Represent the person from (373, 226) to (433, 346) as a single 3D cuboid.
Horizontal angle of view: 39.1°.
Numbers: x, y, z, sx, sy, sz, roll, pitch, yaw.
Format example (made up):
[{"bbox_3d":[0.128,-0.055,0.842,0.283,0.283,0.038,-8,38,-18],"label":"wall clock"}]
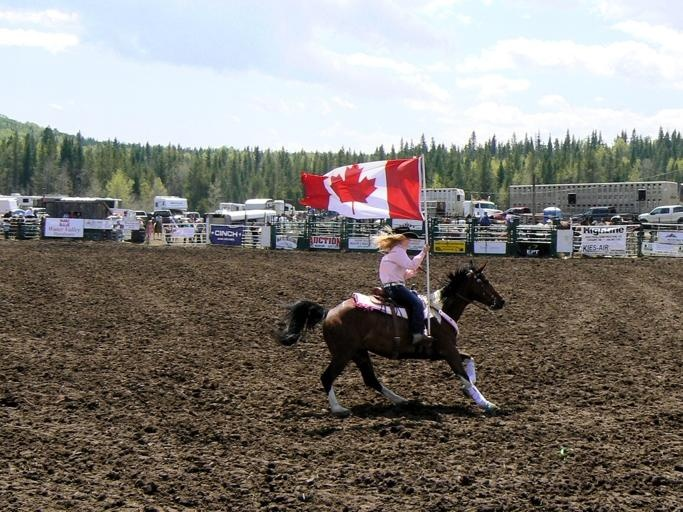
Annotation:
[{"bbox_3d":[1.086,0.421,15.145,0.940,1.786,0.854,-1,-5,-29],"label":"person"}]
